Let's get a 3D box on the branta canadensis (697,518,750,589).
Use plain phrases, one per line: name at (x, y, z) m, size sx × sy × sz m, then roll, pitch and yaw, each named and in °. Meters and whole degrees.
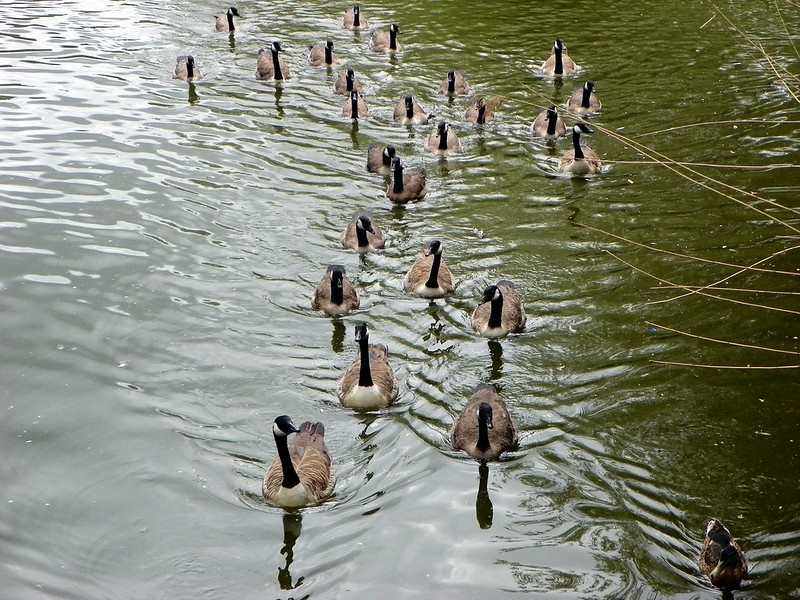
branta canadensis at (5.749, 4.546, 18.172) m, size 0.764 × 0.894 × 1.145 m, roll -5°, pitch 56°, yaw 20°
